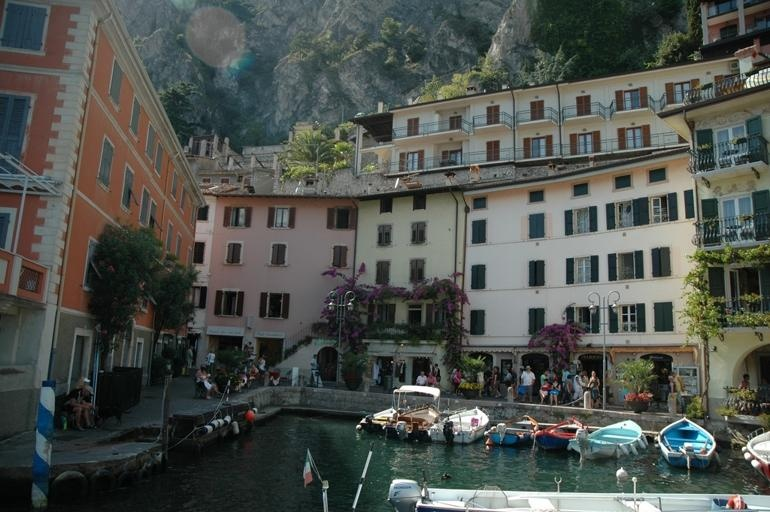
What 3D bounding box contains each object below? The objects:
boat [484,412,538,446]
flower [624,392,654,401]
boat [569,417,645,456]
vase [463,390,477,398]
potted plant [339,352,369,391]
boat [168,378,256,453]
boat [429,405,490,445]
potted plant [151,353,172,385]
[{"bbox_3d":[6.499,8.936,33.830,2.626,1.314,1.572,7,-14,-25],"label":"boat"},{"bbox_3d":[13.158,7.226,34.593,1.239,0.517,0.570,-2,-13,11],"label":"flower"},{"bbox_3d":[10.755,8.782,32.099,3.496,1.771,1.618,6,-14,-20],"label":"boat"},{"bbox_3d":[4.995,7.980,38.781,0.551,0.312,0.557,-1,-8,25],"label":"vase"},{"bbox_3d":[-1.608,7.111,41.393,2.060,2.359,2.046,8,-8,-41],"label":"potted plant"},{"bbox_3d":[-7.821,7.602,31.037,1.360,2.605,5.412,-2,-13,15],"label":"boat"},{"bbox_3d":[3.874,8.771,34.529,1.831,1.743,2.932,-9,-16,37],"label":"boat"},{"bbox_3d":[-13.384,6.771,39.719,0.460,1.688,1.212,-5,-14,24],"label":"potted plant"}]
